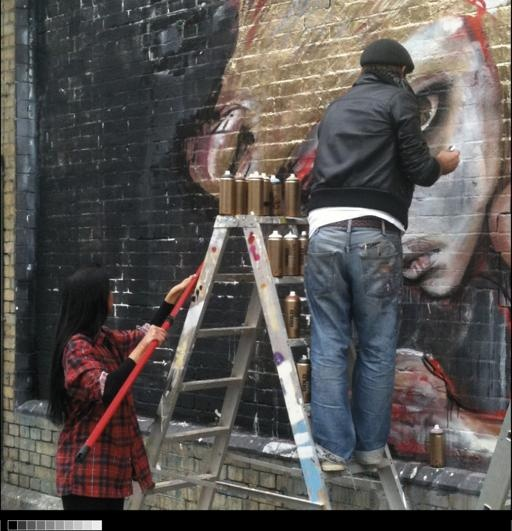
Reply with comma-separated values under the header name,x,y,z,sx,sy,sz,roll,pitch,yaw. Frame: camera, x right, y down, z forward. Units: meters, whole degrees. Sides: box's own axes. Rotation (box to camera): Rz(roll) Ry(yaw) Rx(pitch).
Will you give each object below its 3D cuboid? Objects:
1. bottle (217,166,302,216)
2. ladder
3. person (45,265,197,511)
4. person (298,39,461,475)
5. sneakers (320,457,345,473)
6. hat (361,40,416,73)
name,x,y,z,sx,sy,sz,roll,pitch,yaw
bottle,0.023,-0.354,4.165,0.471,0.261,0.328,-8,14,-29
ladder,0.013,0.522,4.131,1.213,1.511,1.030,-2,-3,43
person,-0.654,0.569,3.748,0.601,1.106,0.549,-9,14,-31
person,0.461,-0.050,3.671,0.530,1.877,0.708,6,15,33
sneakers,0.334,0.874,3.566,0.110,0.091,0.056,-1,12,2
hat,0.608,-0.979,3.799,0.260,0.147,0.198,-1,1,12
